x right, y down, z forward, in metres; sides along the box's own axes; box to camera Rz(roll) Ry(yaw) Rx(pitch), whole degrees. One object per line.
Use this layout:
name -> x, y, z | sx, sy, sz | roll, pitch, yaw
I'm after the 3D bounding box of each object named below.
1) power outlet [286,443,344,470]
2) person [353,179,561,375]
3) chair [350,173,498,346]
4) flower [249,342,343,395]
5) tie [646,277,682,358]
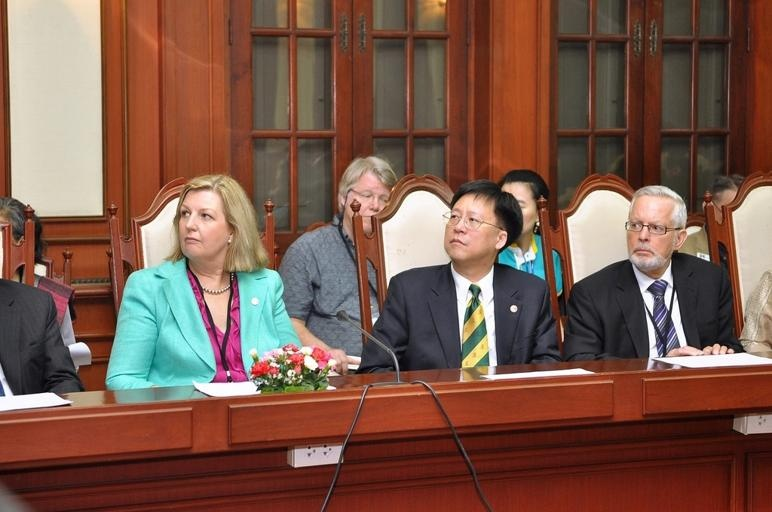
power outlet -> -0.239, 0.670, 2.942 | 0.170, 0.075, 0.014 | -4, 3, -11
person -> 0.277, 0.107, 3.955 | 0.626, 1.297, 0.459 | 2, -20, 2
chair -> 0.065, 0.041, 4.358 | 0.579, 1.210, 0.626 | -1, -9, -9
flower -> -0.321, 0.382, 2.959 | 0.164, 0.148, 0.185 | 0, -1, -3
tie -> 1.262, 0.279, 3.971 | 0.127, 0.326, 0.094 | -2, 3, 14
